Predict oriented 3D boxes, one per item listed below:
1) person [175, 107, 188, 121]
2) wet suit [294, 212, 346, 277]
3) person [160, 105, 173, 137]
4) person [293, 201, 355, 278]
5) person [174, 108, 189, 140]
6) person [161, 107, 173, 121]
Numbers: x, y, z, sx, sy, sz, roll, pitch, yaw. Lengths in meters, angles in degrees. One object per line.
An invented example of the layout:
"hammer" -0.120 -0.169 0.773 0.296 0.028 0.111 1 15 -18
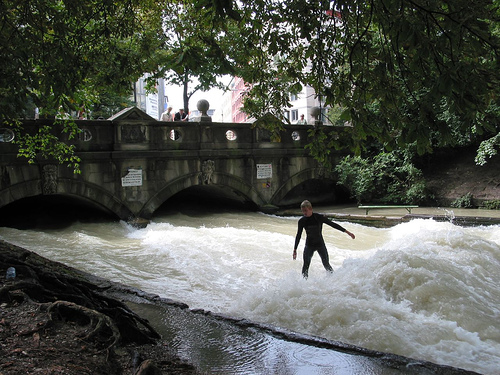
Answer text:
"person" -2.921 -3.172 19.113 0.574 0.493 0.863 5 6 31
"wet suit" 1.577 1.305 9.600 1.195 2.257 0.539 -3 24 4
"person" -3.496 -2.805 18.417 0.490 1.332 2.461 0 6 -11
"person" 2.065 1.449 12.116 1.422 2.531 1.067 -1 6 27
"person" -2.974 -2.788 18.966 0.636 1.390 2.437 0 6 -8
"person" -3.473 -3.087 18.348 0.399 0.518 0.888 1 6 -6
